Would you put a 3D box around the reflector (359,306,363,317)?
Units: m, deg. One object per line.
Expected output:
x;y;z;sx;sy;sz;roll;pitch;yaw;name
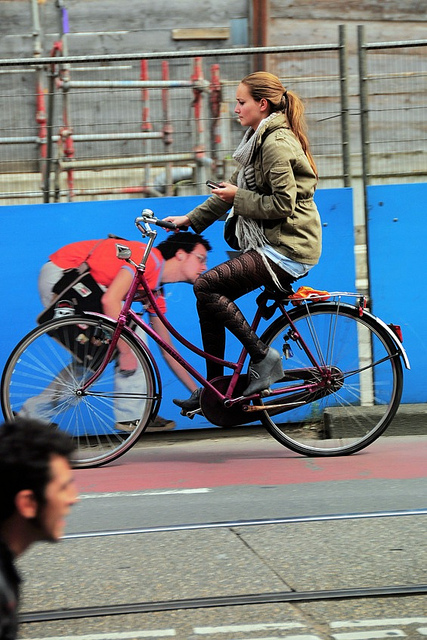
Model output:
0.904;-0.054;4.385;0.018;0.047;0.020;-4;6;12;reflector

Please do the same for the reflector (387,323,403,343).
1.135;0.076;4.443;0.029;0.098;0.112;-12;1;-2;reflector

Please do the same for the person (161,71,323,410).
0.254;-0.517;4.162;0.691;1.893;0.394;1;7;12;person

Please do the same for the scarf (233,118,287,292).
0.167;-0.658;4.174;0.347;0.890;0.330;5;19;-9;scarf

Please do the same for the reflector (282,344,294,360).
0.462;0.195;4.476;0.077;0.070;0.025;2;0;-10;reflector

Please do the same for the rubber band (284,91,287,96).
0.419;-1.348;4.186;0.014;0.031;0.025;-1;6;-8;rubber band
